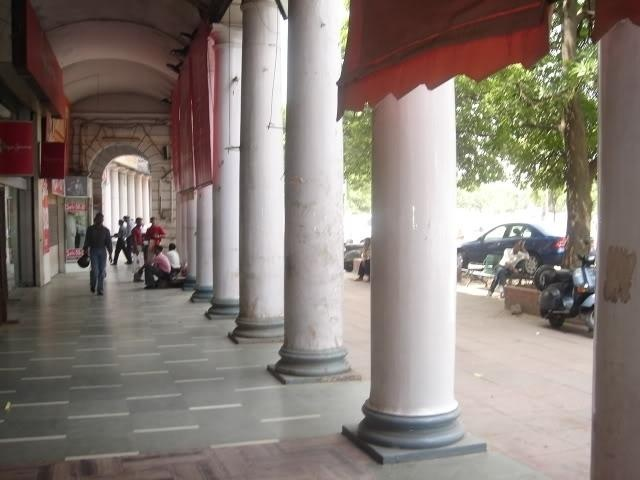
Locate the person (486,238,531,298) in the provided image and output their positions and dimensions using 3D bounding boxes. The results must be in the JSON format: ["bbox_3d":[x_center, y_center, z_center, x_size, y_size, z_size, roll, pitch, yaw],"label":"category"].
[{"bbox_3d":[4.970,0.812,13.297,0.944,1.387,1.374,2,2,36],"label":"person"}]

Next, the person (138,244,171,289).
[{"bbox_3d":[-5.021,0.831,15.680,0.761,1.232,1.419,0,2,-19],"label":"person"}]

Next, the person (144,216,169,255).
[{"bbox_3d":[-6.222,0.015,19.111,0.678,1.755,0.459,-7,37,-25],"label":"person"}]

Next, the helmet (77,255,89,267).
[{"bbox_3d":[-6.559,0.591,14.081,0.272,0.385,0.584,0,2,-24],"label":"helmet"}]

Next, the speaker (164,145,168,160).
[{"bbox_3d":[-7.486,-4.269,24.713,0.359,0.679,0.209,2,2,36],"label":"speaker"}]

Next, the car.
[{"bbox_3d":[5.717,0.122,14.672,0.932,0.951,2.359,0,2,-24],"label":"car"}]

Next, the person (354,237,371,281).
[{"bbox_3d":[1.599,0.732,18.550,0.417,1.528,1.402,1,2,4],"label":"person"}]
